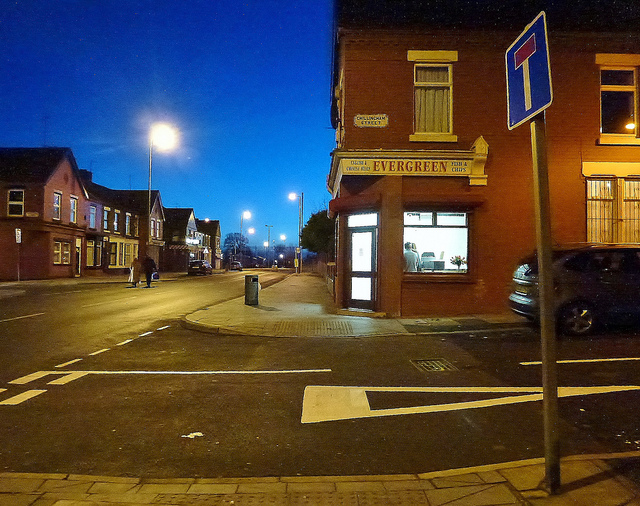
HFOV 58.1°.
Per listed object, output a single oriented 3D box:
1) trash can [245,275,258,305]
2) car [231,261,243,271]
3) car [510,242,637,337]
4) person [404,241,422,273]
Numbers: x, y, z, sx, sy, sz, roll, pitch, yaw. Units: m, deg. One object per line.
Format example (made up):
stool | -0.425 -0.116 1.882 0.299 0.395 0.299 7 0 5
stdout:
trash can | -2.252 1.230 18.890 0.417 0.935 0.547 0 0 -8
car | -11.939 1.913 82.313 1.113 0.983 2.145 0 -6 4
car | 5.603 0.738 12.613 2.502 1.316 1.504 -4 1 -4
person | 2.593 0.099 16.033 0.484 0.790 0.127 0 0 8
